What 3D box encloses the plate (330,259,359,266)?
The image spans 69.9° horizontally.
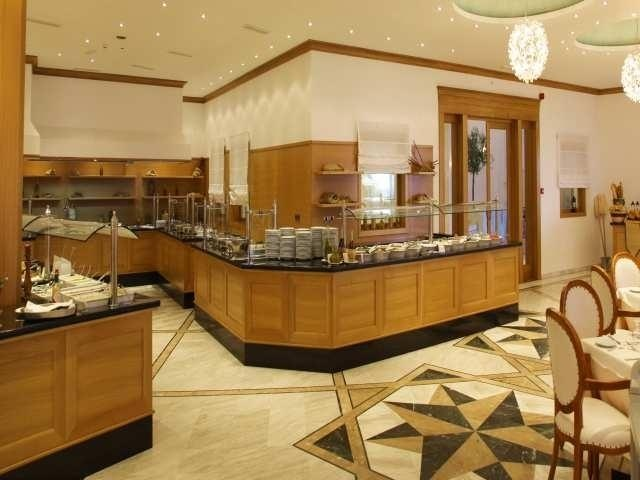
[{"bbox_3d":[0.293,0.253,5.303,0.357,0.053,0.132,-4,10,-21],"label":"plate"}]

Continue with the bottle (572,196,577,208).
[{"bbox_3d":[5.850,-0.851,10.446,0.264,0.287,0.038,-7,10,-38],"label":"bottle"}]

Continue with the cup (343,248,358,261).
[{"bbox_3d":[0.360,0.173,5.396,0.145,0.153,0.152,0,3,0],"label":"cup"}]

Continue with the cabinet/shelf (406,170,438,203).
[{"bbox_3d":[1.793,-0.952,8.139,0.213,0.617,0.687,-1,1,42],"label":"cabinet/shelf"}]

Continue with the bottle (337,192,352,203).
[{"bbox_3d":[0.393,-0.660,7.335,0.184,0.096,0.251,0,0,14],"label":"bottle"}]

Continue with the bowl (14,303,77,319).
[{"bbox_3d":[-2.169,0.558,3.613,0.222,0.072,0.193,0,-1,-39],"label":"bowl"}]

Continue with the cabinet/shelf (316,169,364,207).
[{"bbox_3d":[0.354,-0.801,7.390,0.898,0.537,0.321,-8,11,-38],"label":"cabinet/shelf"}]

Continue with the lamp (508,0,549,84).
[{"bbox_3d":[2.622,-2.380,5.732,0.447,0.762,0.271,2,8,14],"label":"lamp"}]
